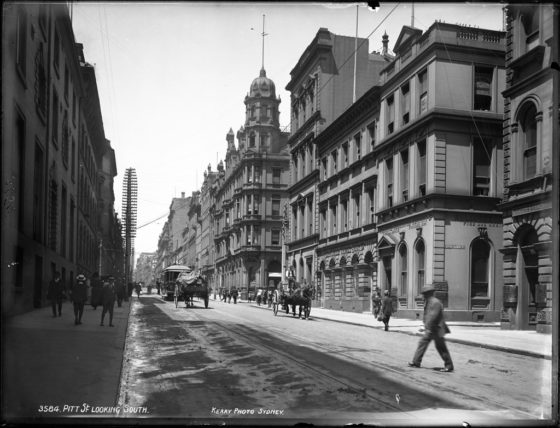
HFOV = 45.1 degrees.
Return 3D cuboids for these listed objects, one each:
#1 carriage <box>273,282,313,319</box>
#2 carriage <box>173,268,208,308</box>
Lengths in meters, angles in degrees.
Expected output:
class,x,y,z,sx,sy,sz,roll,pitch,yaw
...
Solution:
class,x,y,z,sx,sy,sz,roll,pitch,yaw
carriage,0.745,5.189,40.348,1.952,2.359,5.101,3,-13,-1
carriage,-6.112,5.157,46.425,1.760,2.126,3.935,1,-5,-8
